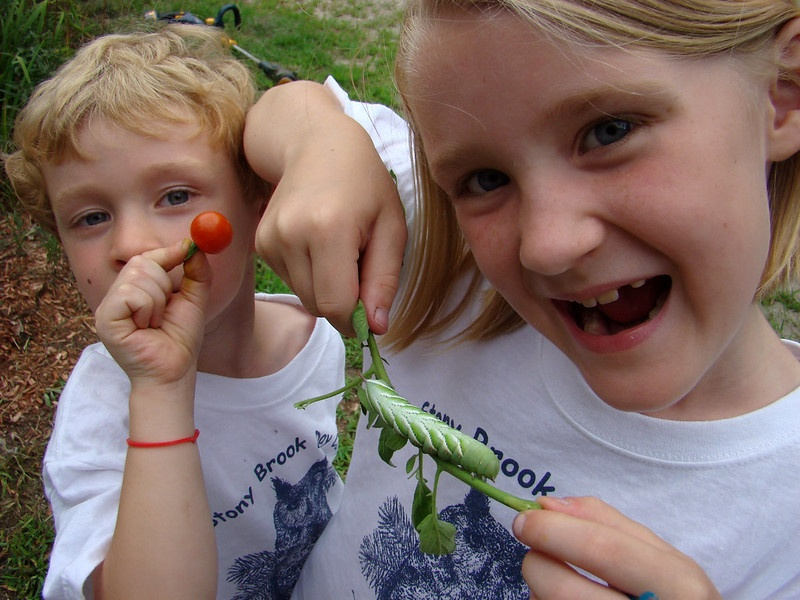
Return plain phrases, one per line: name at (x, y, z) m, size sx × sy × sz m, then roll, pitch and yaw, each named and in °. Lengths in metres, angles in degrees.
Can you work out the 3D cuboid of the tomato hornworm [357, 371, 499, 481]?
tomato hornworm at (0.047, 0.285, 1.955) m, size 0.512 × 0.150 × 0.123 m, roll 35°, pitch 88°, yaw 43°
